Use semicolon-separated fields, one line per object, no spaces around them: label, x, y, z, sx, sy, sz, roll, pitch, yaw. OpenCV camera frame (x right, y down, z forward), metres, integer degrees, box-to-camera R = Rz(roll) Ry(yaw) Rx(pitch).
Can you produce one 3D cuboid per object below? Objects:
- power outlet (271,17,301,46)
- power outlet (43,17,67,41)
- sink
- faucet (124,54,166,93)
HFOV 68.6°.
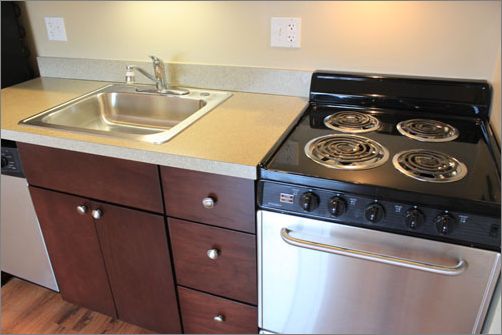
power outlet;0.191;-0.740;2.012;0.165;0.153;0.039;5;22;14
power outlet;-1.268;-0.911;2.404;0.148;0.145;0.008;11;33;8
sink;-0.787;-0.290;2.080;0.616;0.204;0.546;12;34;17
faucet;-0.613;-0.542;2.142;0.225;0.220;0.182;-7;29;-18
